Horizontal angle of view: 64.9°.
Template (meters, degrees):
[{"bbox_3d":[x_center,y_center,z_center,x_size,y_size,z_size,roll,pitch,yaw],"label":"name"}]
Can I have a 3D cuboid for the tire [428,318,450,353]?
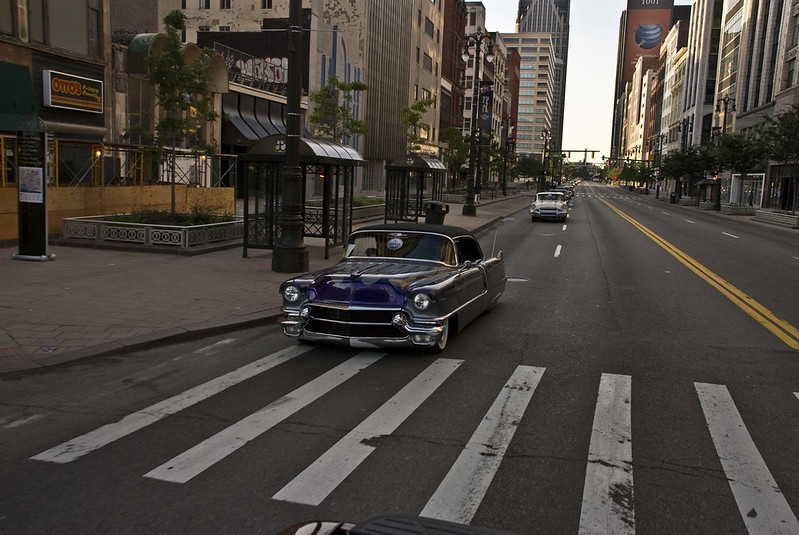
[{"bbox_3d":[0.594,1.051,9.720,0.163,0.483,0.478,1,18,21],"label":"tire"}]

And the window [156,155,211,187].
[{"bbox_3d":[-10.484,-4.606,29.629,2.584,1.800,1.578,4,1,13],"label":"window"}]

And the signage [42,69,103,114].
[{"bbox_3d":[-12.355,-6.735,24.274,2.402,1.158,0.316,10,16,7],"label":"signage"}]

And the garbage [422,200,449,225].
[{"bbox_3d":[1.195,-1.750,20.045,0.588,0.747,0.927,-1,14,-9],"label":"garbage"}]
